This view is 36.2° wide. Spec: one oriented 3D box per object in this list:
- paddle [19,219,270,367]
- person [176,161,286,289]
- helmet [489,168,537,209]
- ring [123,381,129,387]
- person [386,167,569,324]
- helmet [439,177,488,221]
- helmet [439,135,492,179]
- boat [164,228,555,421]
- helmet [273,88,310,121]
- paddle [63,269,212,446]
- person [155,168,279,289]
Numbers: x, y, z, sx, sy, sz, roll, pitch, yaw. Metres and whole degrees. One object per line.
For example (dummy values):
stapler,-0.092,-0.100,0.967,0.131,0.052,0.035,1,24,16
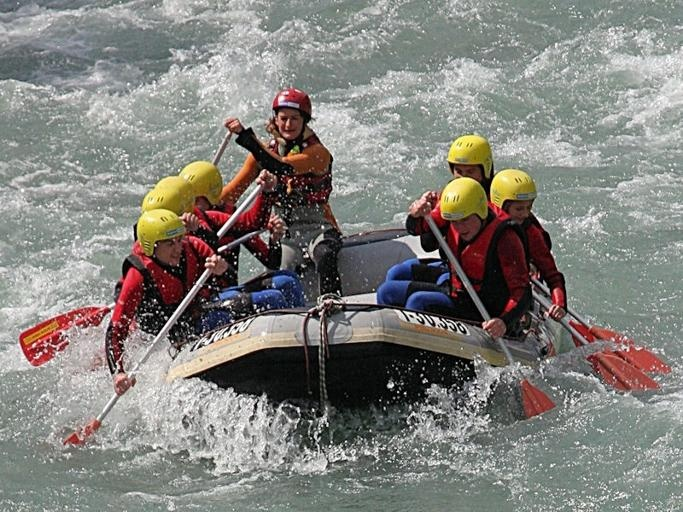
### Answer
paddle,-2.108,0.453,11.330,3.162,0.147,0.535,-29,75,-13
person,-1.138,-0.425,11.272,0.999,1.465,0.605,-9,-3,31
helmet,1.812,-0.714,10.921,0.349,0.371,0.465,-11,30,-25
ring,-2.137,1.258,10.377,0.054,0.056,0.009,-22,32,-32
person,1.454,-0.051,11.091,1.037,1.459,1.037,-27,61,-10
helmet,1.208,-0.544,10.370,0.342,0.472,0.385,-3,43,24
helmet,1.344,-1.098,11.319,0.388,0.422,0.514,10,22,31
boat,0.281,0.637,11.255,3.837,1.293,2.679,-1,26,8
helmet,-0.527,-1.702,11.494,0.291,0.388,0.300,5,13,1
paddle,-2.045,1.103,10.698,0.377,2.185,0.152,40,4,9
person,-1.302,-0.360,11.184,1.068,1.429,0.599,-12,10,16
